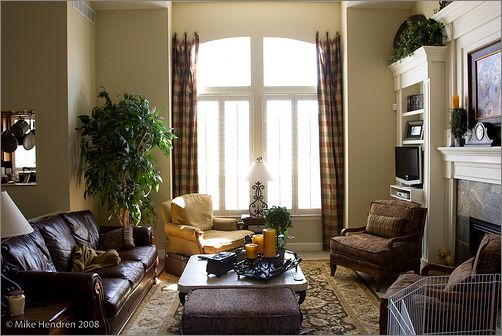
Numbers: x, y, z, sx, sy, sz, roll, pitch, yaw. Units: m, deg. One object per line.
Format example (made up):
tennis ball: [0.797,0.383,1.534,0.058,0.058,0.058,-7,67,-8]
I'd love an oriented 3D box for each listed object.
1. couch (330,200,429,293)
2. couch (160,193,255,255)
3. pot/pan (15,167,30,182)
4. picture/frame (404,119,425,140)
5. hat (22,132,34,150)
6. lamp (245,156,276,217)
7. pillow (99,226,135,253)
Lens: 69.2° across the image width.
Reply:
couch: [1.831,1.016,5.544,1.237,1.421,1.131,2,-2,-27]
couch: [-0.647,0.804,5.853,1.151,1.219,0.921,-7,-5,35]
pot/pan: [-3.522,0.095,5.608,0.281,0.231,0.167,0,4,15]
picture/frame: [2.687,-0.639,6.031,0.039,0.377,0.357,8,-5,-16]
hat: [-3.432,-0.425,5.620,0.205,0.301,0.094,0,4,14]
lamp: [0.129,0.323,6.331,0.467,1.049,0.715,-1,4,1]
pillow: [-1.868,0.985,5.045,0.308,0.144,0.320,-7,47,-20]
